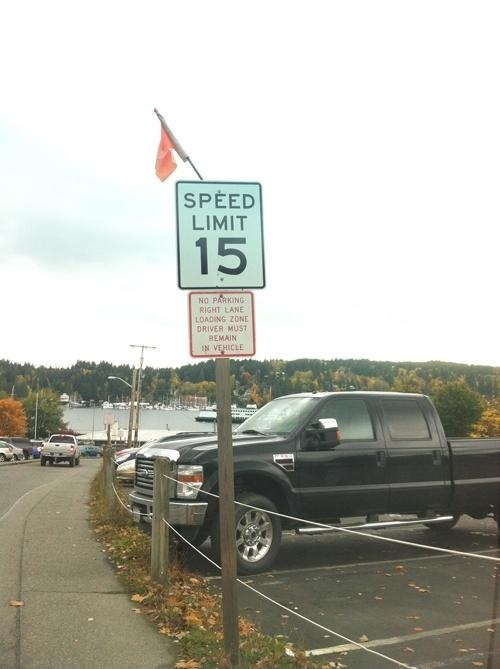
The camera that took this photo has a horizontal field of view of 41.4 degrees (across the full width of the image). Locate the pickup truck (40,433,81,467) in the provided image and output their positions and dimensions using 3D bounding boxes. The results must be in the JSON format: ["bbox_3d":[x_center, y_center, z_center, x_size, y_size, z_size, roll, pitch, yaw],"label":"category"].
[{"bbox_3d":[-9.891,6.158,35.219,1.195,1.378,2.707,0,-19,-4],"label":"pickup truck"}]

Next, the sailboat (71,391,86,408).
[{"bbox_3d":[-51.359,19.516,197.482,4.526,4.618,1.804,-7,-7,32],"label":"sailboat"}]

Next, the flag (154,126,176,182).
[{"bbox_3d":[-0.745,-1.555,5.678,0.155,0.065,0.541,-11,-42,-6],"label":"flag"}]
